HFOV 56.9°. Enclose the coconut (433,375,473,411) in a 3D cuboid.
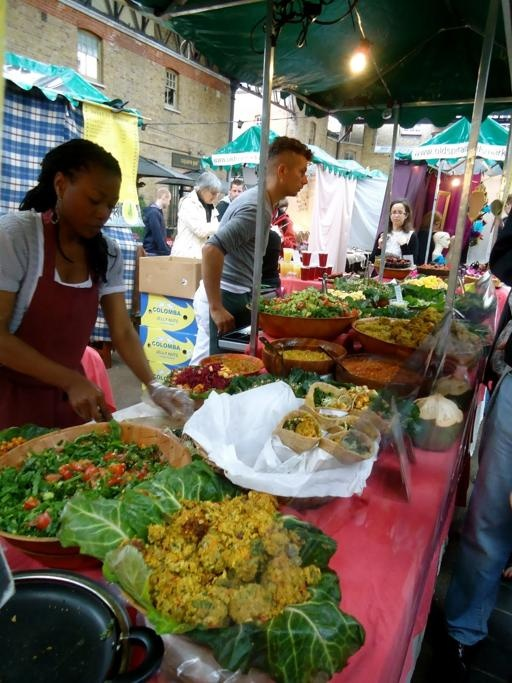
[{"bbox_3d":[0.585,0.151,1.414,0.131,0.057,0.142,-3,15,-16],"label":"coconut"}]
